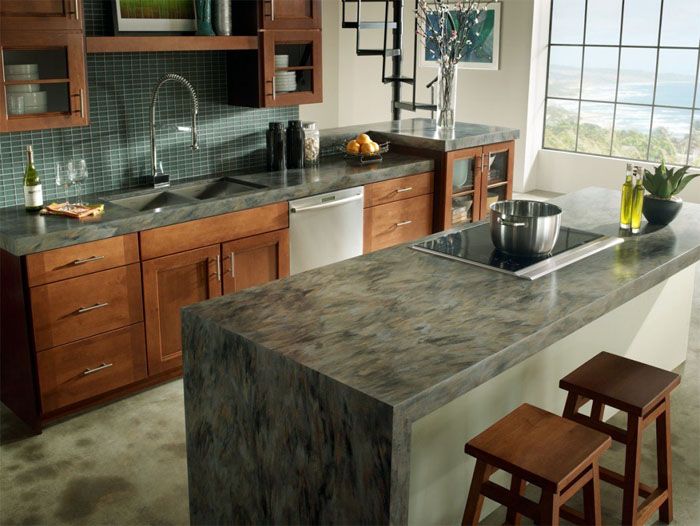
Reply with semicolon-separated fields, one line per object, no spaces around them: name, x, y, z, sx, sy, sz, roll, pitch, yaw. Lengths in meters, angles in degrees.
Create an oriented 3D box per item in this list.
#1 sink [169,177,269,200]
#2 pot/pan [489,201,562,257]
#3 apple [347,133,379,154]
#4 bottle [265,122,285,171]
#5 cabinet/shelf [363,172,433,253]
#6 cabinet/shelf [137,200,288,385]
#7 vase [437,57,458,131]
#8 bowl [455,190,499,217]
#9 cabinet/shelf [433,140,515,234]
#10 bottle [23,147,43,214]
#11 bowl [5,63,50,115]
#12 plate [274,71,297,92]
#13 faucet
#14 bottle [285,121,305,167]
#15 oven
sink;-0.849;-0.500;3.625;0.628;0.132;0.315;0;19;0
pot/pan;0.754;-0.159;2.359;0.284;0.175;0.350;16;29;33
apple;0.105;-0.929;4.205;0.242;0.143;0.163;15;25;37
bottle;-0.529;-0.850;3.898;0.139;0.330;0.224;-1;21;-2
cabinet/shelf;0.322;-0.383;3.875;0.584;0.511;0.364;-16;23;-40
cabinet/shelf;-0.931;0.079;3.422;0.441;0.858;1.130;14;20;34
vase;0.815;-1.420;4.523;0.151;0.574;0.227;3;21;9
bowl;1.039;-0.510;4.606;0.374;0.172;0.577;10;17;41
cabinet/shelf;0.896;-0.594;4.057;0.878;0.688;0.331;-16;24;-41
bottle;-1.722;-0.461;2.899;0.094;0.349;0.194;-13;24;-28
bowl;-1.636;-0.876;2.719;0.243;0.230;0.224;1;10;0
plate;-0.455;-1.272;3.762;0.163;0.105;0.151;-2;16;-4
faucet;-1.095;-0.827;3.437;0.408;0.742;0.138;8;19;23
bottle;-0.399;-0.864;3.911;0.124;0.323;0.114;0;21;0
oven;-0.196;-0.330;3.860;0.539;0.661;0.462;-11;47;-9
